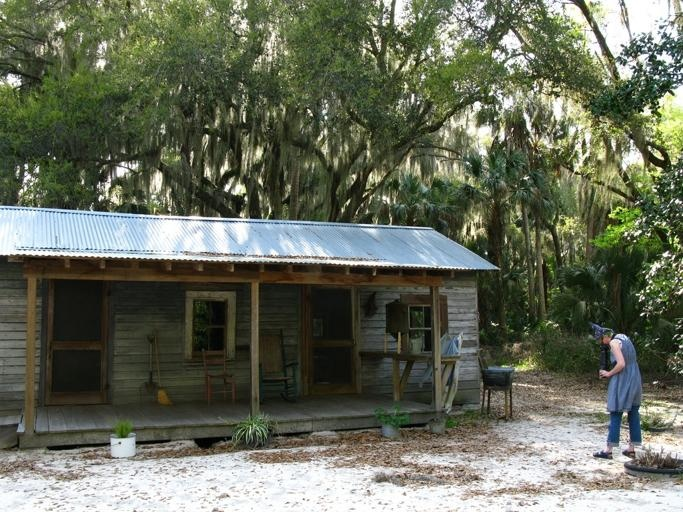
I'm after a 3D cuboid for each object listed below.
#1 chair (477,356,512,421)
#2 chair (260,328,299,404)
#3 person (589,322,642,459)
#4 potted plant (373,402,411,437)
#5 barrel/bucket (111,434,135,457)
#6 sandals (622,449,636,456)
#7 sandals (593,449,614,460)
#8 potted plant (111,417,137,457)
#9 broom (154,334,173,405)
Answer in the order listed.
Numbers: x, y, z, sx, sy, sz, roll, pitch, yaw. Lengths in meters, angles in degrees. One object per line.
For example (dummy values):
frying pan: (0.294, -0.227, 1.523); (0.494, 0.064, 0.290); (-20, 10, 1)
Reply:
chair: (2.970, 2.475, 13.986); (0.648, 1.222, 0.778); (-1, -5, 22)
chair: (-1.385, 2.179, 14.756); (0.789, 1.455, 0.955); (-5, 6, -18)
person: (4.289, 2.161, 11.210); (0.832, 2.086, 0.939); (9, 14, 25)
potted plant: (0.916, 2.933, 12.871); (0.474, 0.594, 0.541); (6, -12, -26)
barrel/bucket: (-3.464, 2.972, 11.464); (0.303, 0.269, 0.339); (-1, -5, 18)
sandals: (4.386, 3.009, 11.021); (0.086, 0.091, 0.214); (0, 3, -9)
sandals: (4.034, 3.051, 11.171); (0.242, 0.114, 0.136); (5, -4, 16)
potted plant: (-3.437, 2.954, 11.631); (0.479, 0.582, 0.433); (12, -24, -38)
broom: (-3.475, 2.199, 14.030); (0.288, 1.222, 0.684); (-3, 14, -25)
